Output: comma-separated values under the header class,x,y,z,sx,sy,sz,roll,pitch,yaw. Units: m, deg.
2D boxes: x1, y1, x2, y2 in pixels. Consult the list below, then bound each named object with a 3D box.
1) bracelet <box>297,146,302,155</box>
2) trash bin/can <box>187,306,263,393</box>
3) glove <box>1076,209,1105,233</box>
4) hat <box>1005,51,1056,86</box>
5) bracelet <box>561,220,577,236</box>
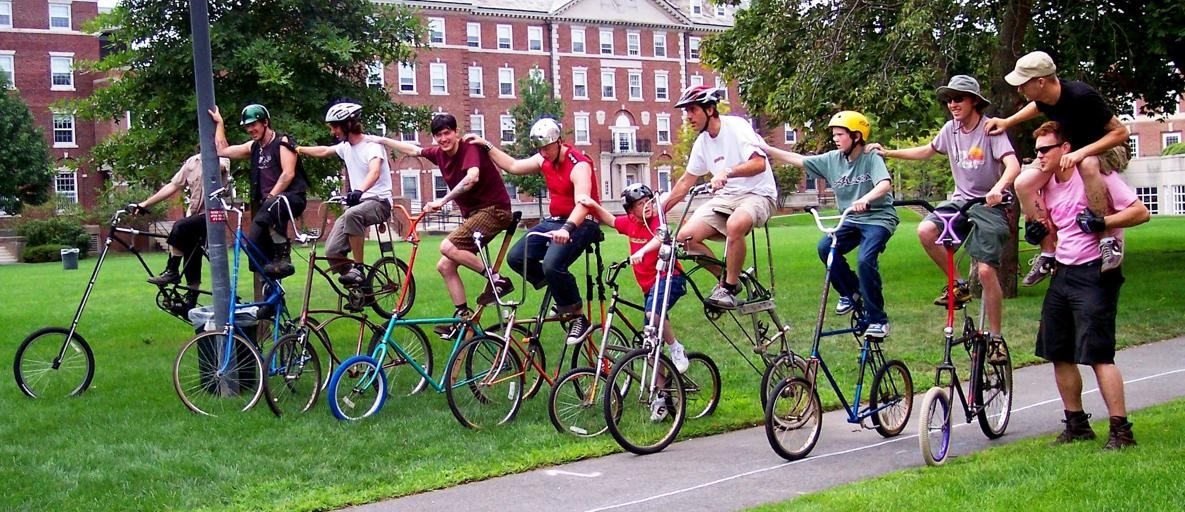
class,x,y,z,sx,sy,sz,roll,pitch,yaw
bracelet,-7.562,-2.718,25.304,0.109,0.229,0.194,3,6,-41
trash bin/can,-9.568,2.423,25.214,2.325,2.091,2.069,1,-8,-5
glove,11.022,-0.754,21.725,0.585,0.546,0.210,-2,3,16
hat,9.843,-4.212,21.986,1.204,0.505,0.726,-6,13,12
bracelet,-0.550,-0.692,23.520,0.314,0.284,0.440,-2,3,16
